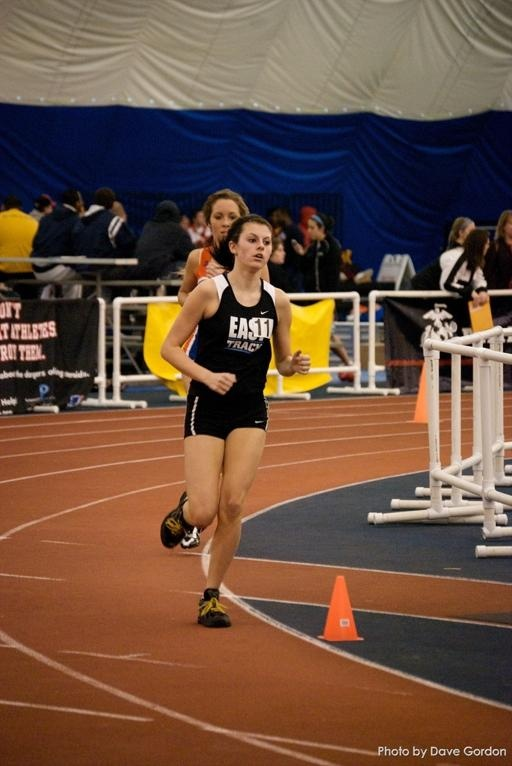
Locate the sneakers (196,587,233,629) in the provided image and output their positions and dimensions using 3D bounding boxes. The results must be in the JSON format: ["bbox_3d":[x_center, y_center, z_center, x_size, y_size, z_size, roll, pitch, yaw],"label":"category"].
[{"bbox_3d":[-0.188,0.975,3.545,0.133,0.144,0.236,1,-1,-10],"label":"sneakers"}]

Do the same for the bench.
[{"bbox_3d":[-2.165,-0.908,13.431,1.413,1.650,1.745,0,1,43],"label":"bench"}]

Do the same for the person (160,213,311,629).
[{"bbox_3d":[-0.107,0.153,3.693,0.645,1.800,0.583,1,-1,-7],"label":"person"}]

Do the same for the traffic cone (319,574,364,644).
[{"bbox_3d":[0.332,0.905,3.284,0.215,0.286,0.193,-1,2,1],"label":"traffic cone"}]
